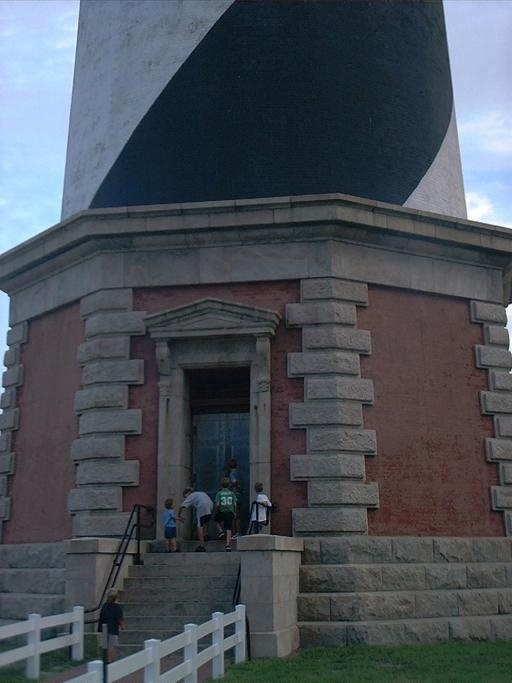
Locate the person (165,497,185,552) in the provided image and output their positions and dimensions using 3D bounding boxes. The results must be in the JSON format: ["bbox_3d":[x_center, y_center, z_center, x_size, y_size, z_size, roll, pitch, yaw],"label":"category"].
[{"bbox_3d":[-1.451,3.179,14.612,0.297,0.888,0.826,0,-14,-6],"label":"person"}]

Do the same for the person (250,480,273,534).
[{"bbox_3d":[0.069,2.824,14.437,0.388,0.884,0.940,-1,-14,-1],"label":"person"}]

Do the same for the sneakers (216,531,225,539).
[{"bbox_3d":[-0.655,3.548,15.461,0.163,0.192,0.482,0,-14,-8],"label":"sneakers"}]
